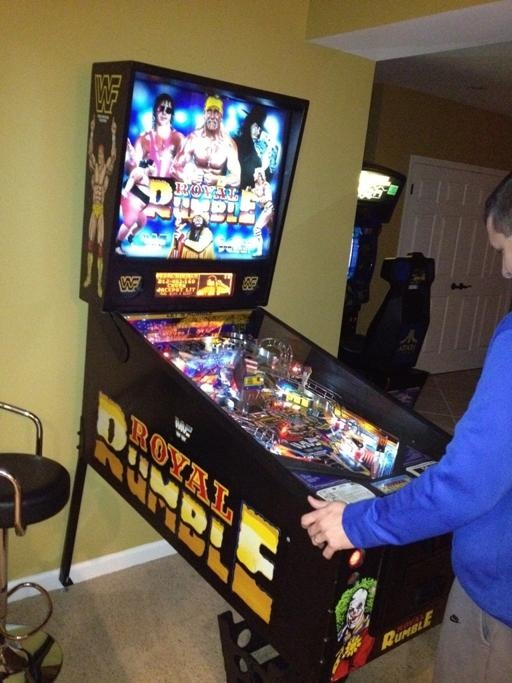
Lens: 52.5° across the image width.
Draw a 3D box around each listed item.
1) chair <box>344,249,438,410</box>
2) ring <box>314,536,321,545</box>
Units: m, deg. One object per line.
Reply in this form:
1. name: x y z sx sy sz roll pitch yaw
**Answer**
1. chair: 0.866 -0.052 3.414 0.580 1.003 0.568 18 20 26
2. ring: 0.104 0.341 0.886 0.011 0.014 0.015 2 -12 -17
